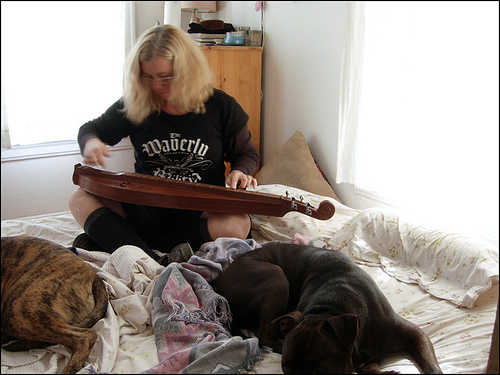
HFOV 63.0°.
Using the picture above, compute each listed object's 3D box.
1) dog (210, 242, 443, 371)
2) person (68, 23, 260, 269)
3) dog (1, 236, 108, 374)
[{"bbox_3d":[0.196,0.363,1.298,0.327,0.231,0.603,-7,4,-25],"label":"dog"},{"bbox_3d":[-0.429,-0.209,2.085,0.829,1.191,0.841,0,3,-4],"label":"person"},{"bbox_3d":[-0.644,0.359,1.333,0.330,0.331,0.371,-6,20,-19],"label":"dog"}]
